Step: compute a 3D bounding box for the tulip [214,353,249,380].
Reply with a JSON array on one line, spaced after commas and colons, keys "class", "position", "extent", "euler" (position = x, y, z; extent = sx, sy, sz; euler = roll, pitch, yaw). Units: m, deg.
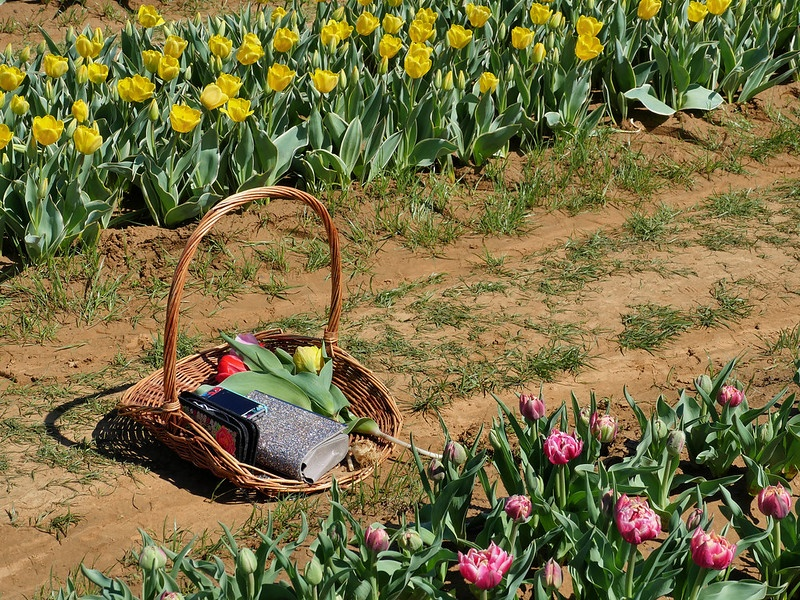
[{"class": "tulip", "position": [-0.819, 0.320, 4.548], "extent": [0.098, 0.122, 0.135], "euler": [-13, 8, 35]}]

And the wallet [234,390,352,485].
[{"class": "wallet", "position": [-0.493, 0.596, 4.157], "extent": [0.390, 0.157, 0.292], "euler": [23, 35, 21]}]

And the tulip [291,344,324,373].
[{"class": "tulip", "position": [-0.443, 0.269, 4.488], "extent": [0.099, 0.142, 0.142], "euler": [-21, 53, -31]}]

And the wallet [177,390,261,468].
[{"class": "wallet", "position": [-0.780, 0.547, 4.073], "extent": [0.245, 0.108, 0.342], "euler": [36, 13, 20]}]
